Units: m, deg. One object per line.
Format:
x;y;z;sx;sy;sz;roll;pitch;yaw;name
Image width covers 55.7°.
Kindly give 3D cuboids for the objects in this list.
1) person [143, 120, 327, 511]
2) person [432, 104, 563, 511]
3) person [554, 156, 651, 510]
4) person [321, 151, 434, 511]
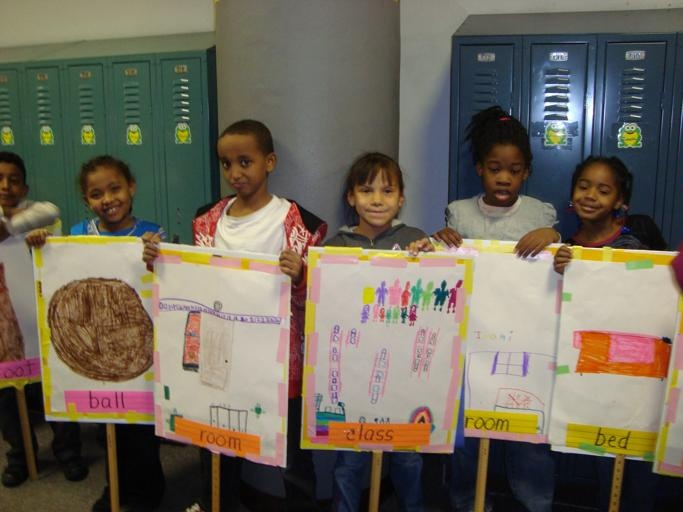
-0.379;0.289;2.678;0.658;1.698;0.515;-2;10;-1;person
0.731;0.246;3.002;0.493;1.865;1.005;1;10;14;person
1.144;0.398;2.755;0.378;1.625;0.539;3;11;24;person
0.154;0.363;2.748;0.414;1.588;0.606;-2;10;0;person
